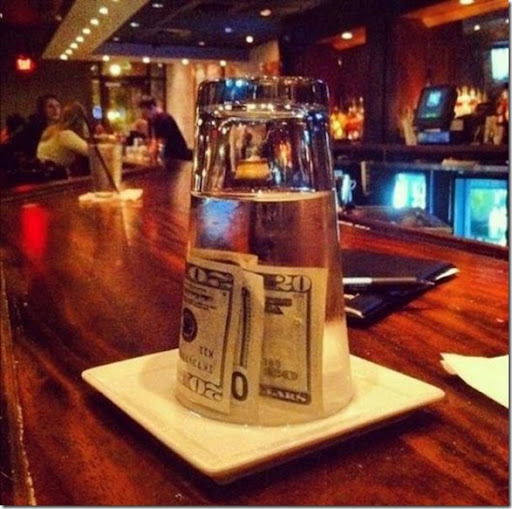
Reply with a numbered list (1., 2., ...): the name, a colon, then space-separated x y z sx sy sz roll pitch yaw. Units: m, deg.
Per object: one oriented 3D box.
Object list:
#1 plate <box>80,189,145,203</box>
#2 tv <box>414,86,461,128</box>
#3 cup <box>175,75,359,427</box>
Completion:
1. plate: -0.496 -0.197 1.616 0.224 0.041 0.229 0 10 0
2. tv: 1.601 -1.281 4.133 0.196 0.403 0.455 -4 10 -22
3. cup: 0.006 -0.009 0.289 0.112 0.203 0.092 -2 9 -11
